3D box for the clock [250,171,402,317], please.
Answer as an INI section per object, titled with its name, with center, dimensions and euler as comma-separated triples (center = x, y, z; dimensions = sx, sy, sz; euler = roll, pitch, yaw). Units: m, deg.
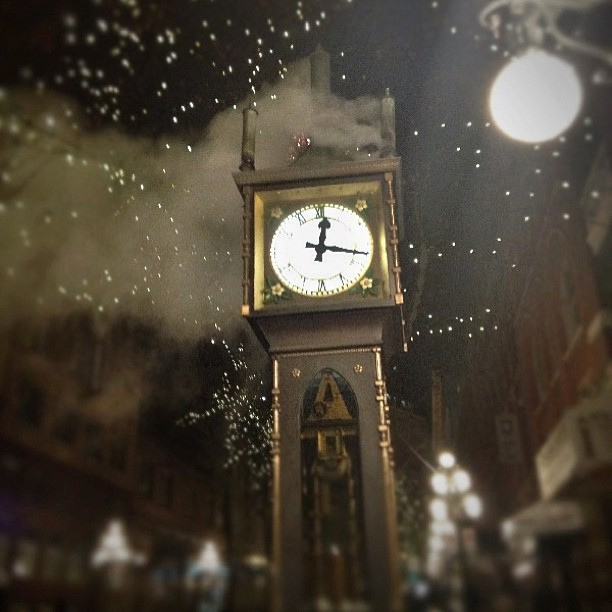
[clock]
center = 0.136, -0.362, 4.315
dimensions = 0.658, 0.839, 0.084
euler = -2, -19, 4
